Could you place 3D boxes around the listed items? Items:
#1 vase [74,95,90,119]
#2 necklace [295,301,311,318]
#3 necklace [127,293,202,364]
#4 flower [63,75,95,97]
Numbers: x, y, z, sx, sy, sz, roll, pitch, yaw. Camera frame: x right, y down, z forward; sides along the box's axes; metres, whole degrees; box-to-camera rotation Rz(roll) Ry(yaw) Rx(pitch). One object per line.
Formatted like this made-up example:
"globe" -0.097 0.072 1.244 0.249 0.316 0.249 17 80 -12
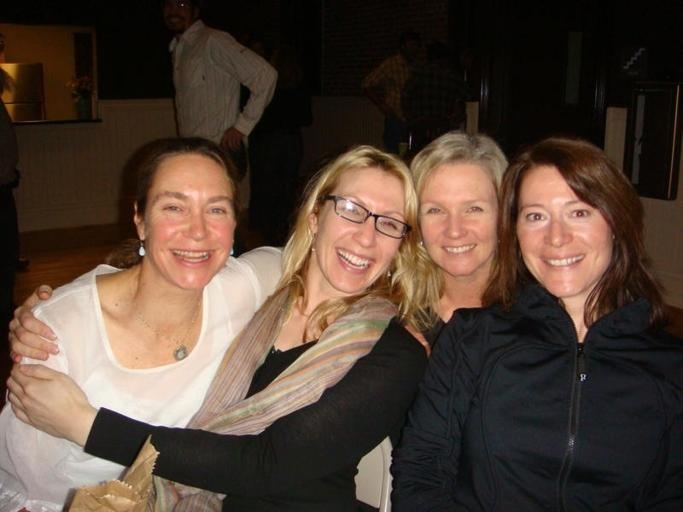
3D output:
"vase" -3.576 -2.055 8.088 0.253 0.342 0.107 0 5 -16
"necklace" -0.174 0.234 2.578 0.058 0.057 0.019 9 -19 29
"necklace" -0.665 0.296 2.504 0.344 0.255 0.402 5 -2 -8
"flower" -3.585 -2.292 8.155 0.338 0.279 0.332 -2 22 34
